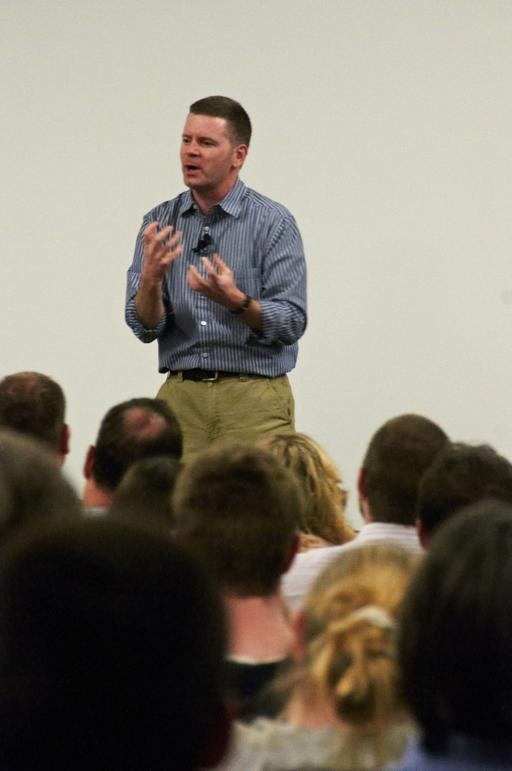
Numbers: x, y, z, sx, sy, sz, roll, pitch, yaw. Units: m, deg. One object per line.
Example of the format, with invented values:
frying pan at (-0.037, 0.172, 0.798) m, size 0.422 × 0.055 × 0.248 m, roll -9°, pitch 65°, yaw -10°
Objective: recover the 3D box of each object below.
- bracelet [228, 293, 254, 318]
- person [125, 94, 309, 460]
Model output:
bracelet at (-0.029, -0.206, 2.332) m, size 0.062 × 0.052 × 0.029 m, roll -3°, pitch 7°, yaw -6°
person at (-0.070, -0.288, 2.508) m, size 0.427 × 0.980 × 0.455 m, roll 2°, pitch 9°, yaw -7°
